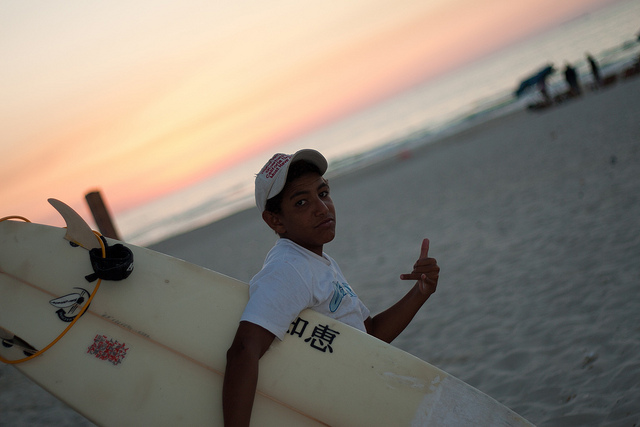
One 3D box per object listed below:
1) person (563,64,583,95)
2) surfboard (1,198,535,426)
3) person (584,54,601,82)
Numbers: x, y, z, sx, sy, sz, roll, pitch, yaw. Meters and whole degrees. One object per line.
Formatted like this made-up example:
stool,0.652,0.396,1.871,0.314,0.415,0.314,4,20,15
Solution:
person,13.784,-7.342,27.807,0.705,1.564,1.043,-20,16,35
surfboard,-0.286,1.088,5.222,1.300,5.035,1.202,-62,-16,-17
person,13.949,-7.515,26.052,0.282,1.296,0.365,-17,8,-17
